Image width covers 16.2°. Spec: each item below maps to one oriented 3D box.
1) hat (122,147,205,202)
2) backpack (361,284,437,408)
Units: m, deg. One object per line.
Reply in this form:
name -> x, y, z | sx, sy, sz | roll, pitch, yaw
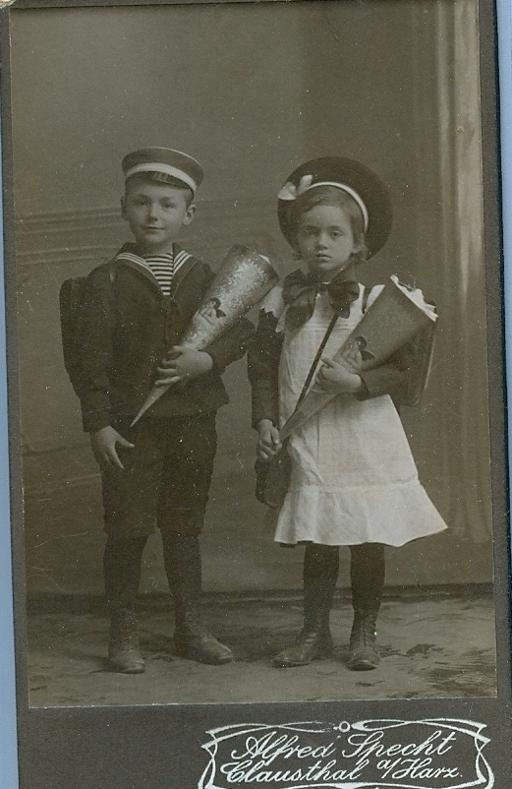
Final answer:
hat -> -0.231, -0.521, 4.324 | 0.194, 0.063, 0.207 | 9, -9, 0
backpack -> 0.336, -0.122, 4.265 | 0.224, 0.261, 0.098 | 20, 1, -5
